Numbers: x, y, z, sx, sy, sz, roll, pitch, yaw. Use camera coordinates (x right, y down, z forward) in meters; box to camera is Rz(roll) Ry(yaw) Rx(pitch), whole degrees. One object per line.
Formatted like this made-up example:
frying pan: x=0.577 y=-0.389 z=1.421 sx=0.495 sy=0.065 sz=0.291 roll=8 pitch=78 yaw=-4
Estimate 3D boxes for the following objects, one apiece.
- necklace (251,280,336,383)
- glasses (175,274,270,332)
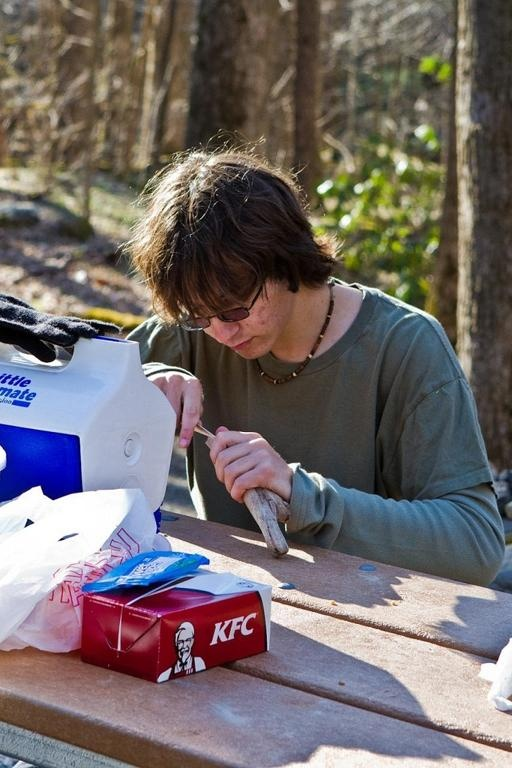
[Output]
necklace: x=0.092 y=-0.116 z=1.930 sx=0.189 sy=0.240 sz=0.015 roll=6 pitch=-13 yaw=41
glasses: x=-0.075 y=-0.150 z=1.690 sx=0.119 sy=0.030 sz=0.112 roll=-7 pitch=32 yaw=48
